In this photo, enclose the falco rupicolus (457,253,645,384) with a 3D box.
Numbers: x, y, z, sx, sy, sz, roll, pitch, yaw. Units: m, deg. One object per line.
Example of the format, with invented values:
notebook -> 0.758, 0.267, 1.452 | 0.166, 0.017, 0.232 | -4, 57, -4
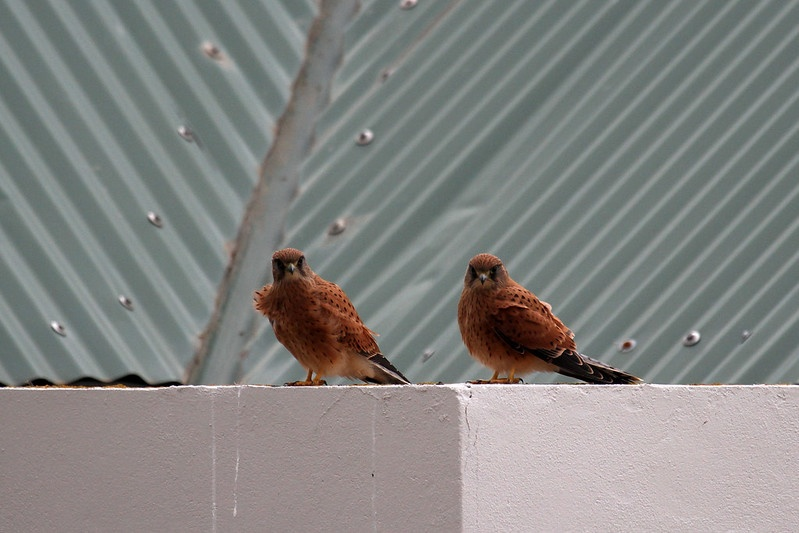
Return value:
falco rupicolus -> 0.743, 0.292, 9.021 | 1.008, 0.620, 0.442 | 7, -5, -25
